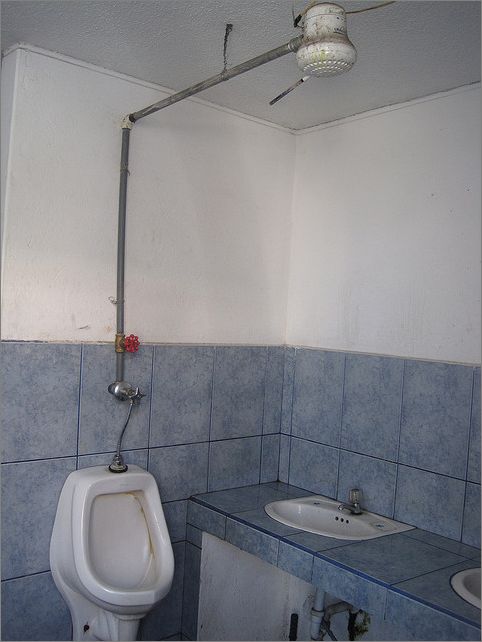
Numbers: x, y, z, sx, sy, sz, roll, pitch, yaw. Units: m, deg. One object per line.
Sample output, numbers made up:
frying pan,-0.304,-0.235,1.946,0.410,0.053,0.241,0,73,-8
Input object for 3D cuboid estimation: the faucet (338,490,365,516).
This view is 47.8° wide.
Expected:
faucet,0.429,0.685,2.055,0.117,0.096,0.066,-6,4,-44
